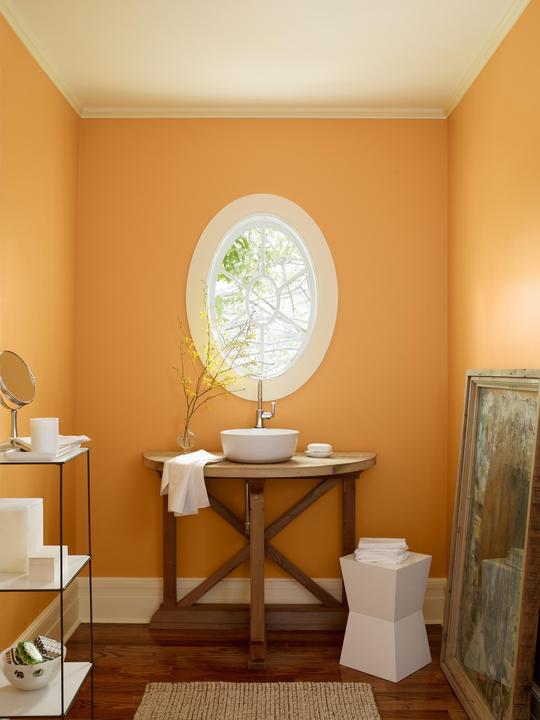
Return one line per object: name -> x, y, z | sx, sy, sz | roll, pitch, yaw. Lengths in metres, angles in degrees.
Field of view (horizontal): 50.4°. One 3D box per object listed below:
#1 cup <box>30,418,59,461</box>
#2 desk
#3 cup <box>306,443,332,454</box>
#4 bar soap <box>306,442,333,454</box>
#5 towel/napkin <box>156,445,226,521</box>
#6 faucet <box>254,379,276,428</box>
cup -> -0.660, 0.226, 1.668 | 0.076, 0.110, 0.123 | 1, -3, -21
desk -> -0.047, 0.873, 2.595 | 1.027, 0.827, 0.568 | 1, -2, -3
cup -> 0.224, 0.417, 2.681 | 0.075, 0.039, 0.064 | -1, -3, 13
bar soap -> 0.223, 0.415, 2.684 | 0.081, 0.039, 0.059 | -3, -4, 19
towel/napkin -> -0.332, 0.521, 2.402 | 0.250, 0.203, 0.220 | 1, -3, -10
faucet -> -0.027, 0.218, 2.812 | 0.096, 0.233, 0.155 | 0, -3, -1
